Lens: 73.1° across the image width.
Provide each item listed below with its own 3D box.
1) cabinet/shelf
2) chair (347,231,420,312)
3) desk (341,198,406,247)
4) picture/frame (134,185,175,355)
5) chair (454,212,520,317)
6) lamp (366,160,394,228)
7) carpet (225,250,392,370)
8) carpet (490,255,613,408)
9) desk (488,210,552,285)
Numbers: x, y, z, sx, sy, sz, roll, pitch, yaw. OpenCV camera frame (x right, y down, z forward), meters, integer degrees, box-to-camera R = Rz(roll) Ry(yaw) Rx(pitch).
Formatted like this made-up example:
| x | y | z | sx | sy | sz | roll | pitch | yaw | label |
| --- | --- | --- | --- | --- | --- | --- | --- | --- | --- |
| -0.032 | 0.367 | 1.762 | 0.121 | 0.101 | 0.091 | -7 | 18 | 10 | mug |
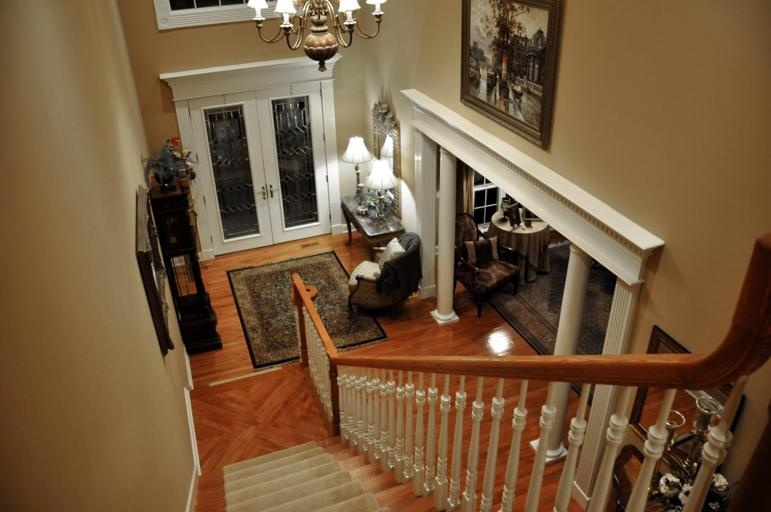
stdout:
| x | y | z | sx | sy | sz | roll | pitch | yaw | label |
| --- | --- | --- | --- | --- | --- | --- | --- | --- | --- |
| -2.817 | 0.168 | 7.344 | 0.710 | 3.098 | 1.021 | -9 | 41 | -12 | cabinet/shelf |
| -0.005 | 0.309 | 8.569 | 1.167 | 1.334 | 1.161 | 2 | 26 | 7 | chair |
| -0.279 | -0.361 | 9.871 | 0.656 | 1.017 | 1.622 | -11 | 32 | -21 | desk |
| -2.351 | 0.245 | 5.342 | 0.117 | 1.619 | 1.802 | -14 | 23 | -19 | picture/frame |
| 1.690 | 0.213 | 8.648 | 0.871 | 1.225 | 0.903 | -29 | 52 | -23 | chair |
| -0.027 | -1.164 | 9.136 | 0.520 | 1.050 | 0.660 | -3 | 22 | 8 | lamp |
| -1.472 | 0.955 | 8.777 | 1.708 | 0.047 | 2.041 | -12 | 45 | -19 | carpet |
| 2.822 | 1.104 | 8.695 | 1.732 | 0.012 | 1.975 | -24 | 51 | -26 | carpet |
| 2.363 | -0.115 | 9.328 | 0.980 | 1.000 | 1.052 | 2 | 45 | 3 | desk |
